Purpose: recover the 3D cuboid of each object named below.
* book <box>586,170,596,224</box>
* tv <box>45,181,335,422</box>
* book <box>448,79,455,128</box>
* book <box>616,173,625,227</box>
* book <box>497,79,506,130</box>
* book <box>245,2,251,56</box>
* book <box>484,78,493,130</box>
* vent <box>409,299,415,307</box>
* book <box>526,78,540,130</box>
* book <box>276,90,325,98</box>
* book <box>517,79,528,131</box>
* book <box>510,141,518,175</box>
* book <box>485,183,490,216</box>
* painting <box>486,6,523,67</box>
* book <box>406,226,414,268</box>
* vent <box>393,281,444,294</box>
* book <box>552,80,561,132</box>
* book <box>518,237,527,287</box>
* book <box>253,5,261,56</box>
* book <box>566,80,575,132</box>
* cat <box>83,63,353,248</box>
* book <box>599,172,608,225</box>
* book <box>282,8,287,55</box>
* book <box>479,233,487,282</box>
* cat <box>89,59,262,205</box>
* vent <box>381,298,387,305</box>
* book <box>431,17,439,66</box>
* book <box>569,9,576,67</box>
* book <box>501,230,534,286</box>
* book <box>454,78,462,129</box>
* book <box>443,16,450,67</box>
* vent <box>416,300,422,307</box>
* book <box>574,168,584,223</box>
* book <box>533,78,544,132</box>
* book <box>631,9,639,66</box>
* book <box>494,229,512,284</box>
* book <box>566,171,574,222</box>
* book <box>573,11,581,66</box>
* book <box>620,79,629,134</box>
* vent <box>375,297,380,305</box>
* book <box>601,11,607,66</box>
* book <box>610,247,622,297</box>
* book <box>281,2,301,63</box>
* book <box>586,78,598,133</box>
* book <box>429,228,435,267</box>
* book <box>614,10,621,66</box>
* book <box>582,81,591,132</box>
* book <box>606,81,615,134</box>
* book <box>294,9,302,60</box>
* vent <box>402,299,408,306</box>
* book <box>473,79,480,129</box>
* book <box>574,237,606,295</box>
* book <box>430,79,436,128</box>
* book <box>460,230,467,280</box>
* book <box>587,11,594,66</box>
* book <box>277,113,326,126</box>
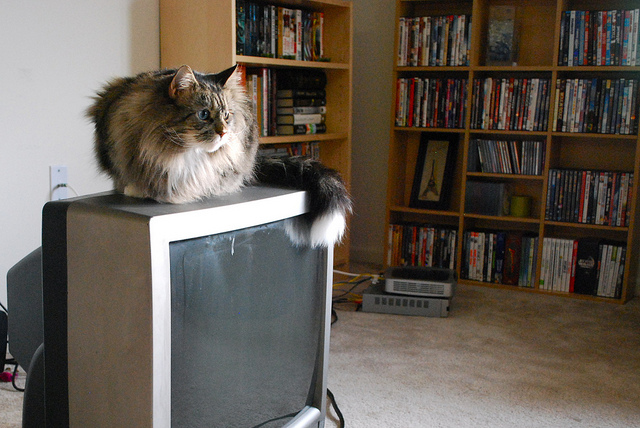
[{"bbox_3d":[1.600,-0.097,3.429,0.032,0.301,0.021,1,9,-1],"label":"book"},{"bbox_3d":[-0.317,0.298,1.576,0.798,0.713,0.273,-3,10,-25],"label":"tv"},{"bbox_3d":[0.828,-0.690,3.654,0.028,0.287,0.012,5,10,25],"label":"book"},{"bbox_3d":[1.740,-0.082,3.362,0.025,0.295,0.021,7,11,32],"label":"book"},{"bbox_3d":[1.110,-0.663,3.551,0.029,0.295,0.030,5,10,25],"label":"book"},{"bbox_3d":[-0.383,-0.978,3.102,0.016,0.264,0.042,6,10,28],"label":"book"},{"bbox_3d":[1.038,-0.670,3.575,0.034,0.300,0.021,4,10,17],"label":"book"},{"bbox_3d":[0.503,0.474,3.158,0.034,0.038,0.019,1,4,19],"label":"vent"},{"bbox_3d":[1.281,-0.653,3.488,0.054,0.293,0.016,3,10,16],"label":"book"},{"bbox_3d":[-0.102,-0.721,3.510,0.342,0.053,0.083,-8,13,-43],"label":"book"},{"bbox_3d":[1.223,-0.655,3.508,0.039,0.291,0.018,4,10,20],"label":"book"},{"bbox_3d":[1.188,-0.344,3.555,0.056,0.195,0.016,4,10,19],"label":"book"},{"bbox_3d":[1.048,-0.098,3.625,0.025,0.191,0.009,3,9,11],"label":"book"},{"bbox_3d":[1.134,-1.083,3.564,0.193,0.382,0.246,4,10,19],"label":"painting"},{"bbox_3d":[0.593,0.202,3.823,0.037,0.248,0.028,3,9,11],"label":"book"},{"bbox_3d":[0.533,0.391,3.137,0.270,0.058,0.012,2,9,6],"label":"vent"},{"bbox_3d":[1.397,-0.637,3.432,0.028,0.292,0.016,-1,9,-10],"label":"book"},{"bbox_3d":[1.249,0.287,3.578,0.029,0.298,0.035,7,11,36],"label":"book"},{"bbox_3d":[-0.338,-0.985,3.149,0.011,0.261,0.062,6,11,31],"label":"book"},{"bbox_3d":[1.471,-0.634,3.414,0.026,0.290,0.013,5,10,23],"label":"book"},{"bbox_3d":[-0.315,-0.188,1.614,0.648,0.386,0.468,33,23,28],"label":"cat"},{"bbox_3d":[1.662,-0.090,3.401,0.026,0.297,0.024,4,10,21],"label":"book"},{"bbox_3d":[-0.196,-1.030,3.304,0.027,0.251,0.055,0,9,-7],"label":"book"},{"bbox_3d":[1.025,0.266,3.661,0.026,0.301,0.015,4,10,17],"label":"book"},{"bbox_3d":[-0.362,-0.212,1.548,0.328,0.282,0.416,-10,24,-33],"label":"cat"},{"bbox_3d":[0.355,0.470,3.182,0.032,0.052,0.026,1,-19,4],"label":"vent"},{"bbox_3d":[0.720,-1.068,3.622,0.026,0.285,0.011,2,9,8],"label":"book"},{"bbox_3d":[1.459,-1.001,3.348,0.031,0.313,0.050,2,9,8],"label":"book"},{"bbox_3d":[1.225,0.274,3.589,0.103,0.327,0.279,5,4,10],"label":"book"},{"bbox_3d":[0.869,-0.685,3.640,0.035,0.290,0.009,3,9,13],"label":"book"},{"bbox_3d":[0.784,-1.063,3.597,0.026,0.286,0.007,3,9,11],"label":"book"},{"bbox_3d":[0.539,0.479,3.152,0.044,0.049,0.025,0,-9,11],"label":"vent"},{"bbox_3d":[1.533,-0.104,3.449,0.030,0.305,0.029,3,9,12],"label":"book"},{"bbox_3d":[1.309,-0.650,3.479,0.044,0.296,0.017,3,9,14],"label":"book"},{"bbox_3d":[1.768,-0.984,3.259,0.028,0.295,0.026,5,10,23],"label":"book"},{"bbox_3d":[1.144,0.267,3.622,0.104,0.340,0.291,3,0,19],"label":"book"},{"bbox_3d":[1.491,-0.108,3.465,0.025,0.292,0.016,5,10,25],"label":"book"},{"bbox_3d":[1.483,-1.007,3.354,0.036,0.292,0.017,3,9,15],"label":"book"},{"bbox_3d":[1.741,-0.609,3.318,0.027,0.296,0.027,6,10,28],"label":"book"},{"bbox_3d":[0.318,0.470,3.189,0.033,0.032,0.008,3,-2,-33],"label":"vent"},{"bbox_3d":[1.622,-0.995,3.314,0.023,0.290,0.033,1,9,-1],"label":"book"},{"bbox_3d":[1.728,0.333,3.390,0.044,0.291,0.020,-2,10,-18],"label":"book"},{"bbox_3d":[-0.171,-1.026,3.335,0.044,0.276,0.161,6,11,30],"label":"book"},{"bbox_3d":[1.585,-0.633,3.378,0.027,0.239,0.277,4,-4,17],"label":"book"},{"bbox_3d":[0.729,0.208,3.781,0.026,0.240,0.017,3,9,11],"label":"book"},{"bbox_3d":[1.686,-0.988,3.288,0.022,0.295,0.037,-1,9,-12],"label":"book"},{"bbox_3d":[1.556,-0.635,3.388,0.027,0.297,0.219,2,11,16],"label":"book"},{"bbox_3d":[1.673,-0.612,3.343,0.024,0.288,0.024,5,10,25],"label":"book"},{"bbox_3d":[-0.124,-1.036,3.385,0.027,0.275,0.097,5,10,26],"label":"book"},{"bbox_3d":[0.466,0.478,3.162,0.025,0.055,0.027,0,-2,13],"label":"vent"},{"bbox_3d":[0.974,-0.676,3.598,0.024,0.291,0.019,-3,10,-21],"label":"book"},{"bbox_3d":[1.586,0.312,3.457,0.118,0.312,0.039,6,10,28],"label":"book"},{"bbox_3d":[0.721,-0.700,3.694,0.028,0.286,0.013,1,9,-1],"label":"book"},{"bbox_3d":[0.919,0.255,3.707,0.034,0.302,0.018,2,9,7],"label":"book"},{"bbox_3d":[1.555,-1.001,3.334,0.039,0.291,0.026,4,10,18],"label":"book"},{"bbox_3d":[-0.102,-0.564,3.498,0.300,0.067,0.081,-6,12,-36],"label":"book"}]
